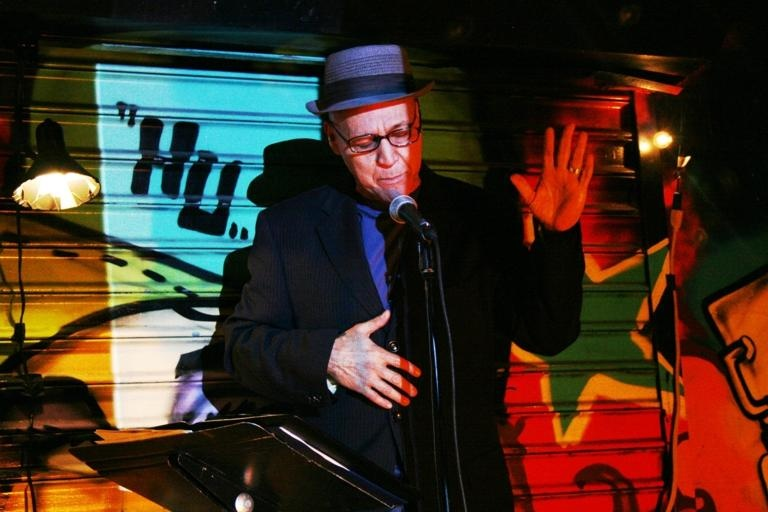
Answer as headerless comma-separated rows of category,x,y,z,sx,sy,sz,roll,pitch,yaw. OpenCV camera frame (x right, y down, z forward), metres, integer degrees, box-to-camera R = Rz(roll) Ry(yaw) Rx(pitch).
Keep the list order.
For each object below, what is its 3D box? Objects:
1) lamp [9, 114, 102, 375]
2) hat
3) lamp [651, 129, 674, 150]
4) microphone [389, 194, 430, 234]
lamp,-2.192,-0.057,5.832,0.553,1.644,0.592,-1,-6,-22
hat,-0.148,-1.054,5.341,0.550,0.201,0.568,-14,7,-31
lamp,2.115,-0.873,6.571,0.160,0.138,0.070,-4,-6,9
microphone,0.146,-0.221,4.765,0.147,0.122,0.280,-24,32,-16
